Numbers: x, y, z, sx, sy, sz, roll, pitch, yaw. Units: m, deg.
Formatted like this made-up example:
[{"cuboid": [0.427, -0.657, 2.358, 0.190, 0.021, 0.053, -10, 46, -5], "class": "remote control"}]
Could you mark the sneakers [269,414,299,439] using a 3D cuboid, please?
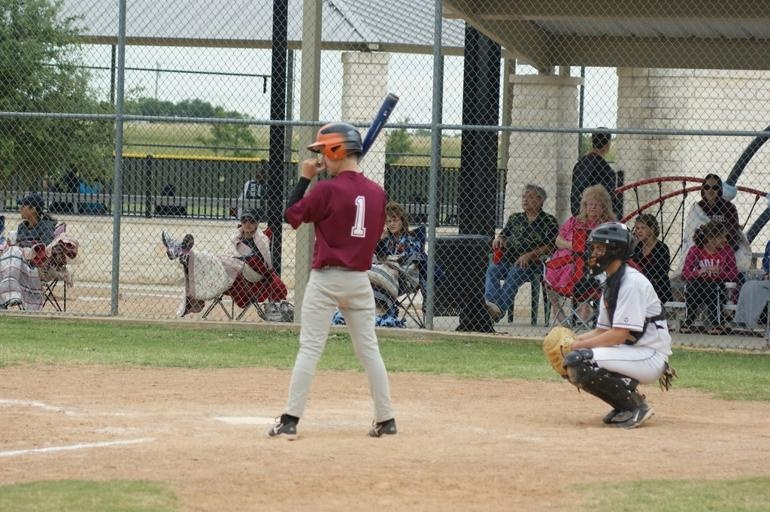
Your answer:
[{"cuboid": [-1.109, 1.894, 13.750, 0.392, 0.303, 0.180, 5, -3, 31], "class": "sneakers"}]

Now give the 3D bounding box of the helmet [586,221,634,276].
[{"cuboid": [2.614, -0.104, 14.579, 0.520, 0.577, 0.463, 3, 2, 9], "class": "helmet"}]

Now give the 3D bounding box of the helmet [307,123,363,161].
[{"cuboid": [-0.557, -1.266, 14.003, 0.516, 0.365, 0.368, 4, 1, -1], "class": "helmet"}]

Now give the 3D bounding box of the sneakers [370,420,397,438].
[{"cuboid": [-0.025, 1.934, 13.873, 0.272, 0.139, 0.158, -1, 2, 5], "class": "sneakers"}]

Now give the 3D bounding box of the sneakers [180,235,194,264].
[{"cuboid": [-2.950, -0.118, 18.474, 0.141, 0.472, 0.177, 9, 2, 10], "class": "sneakers"}]

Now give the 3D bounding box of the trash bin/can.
[{"cuboid": [1.158, 0.297, 19.315, 0.976, 1.634, 1.051, 2, -1, 2], "class": "trash bin/can"}]

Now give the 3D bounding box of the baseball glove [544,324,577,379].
[{"cuboid": [2.019, 1.114, 14.555, 0.214, 0.578, 0.400, -3, -10, -2], "class": "baseball glove"}]

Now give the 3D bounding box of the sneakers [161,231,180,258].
[{"cuboid": [-3.480, -0.198, 20.226, 0.197, 0.522, 0.167, -14, -3, 3], "class": "sneakers"}]

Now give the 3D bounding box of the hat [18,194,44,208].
[{"cuboid": [-5.539, -0.855, 19.511, 0.301, 0.257, 0.437, -2, 15, -11], "class": "hat"}]

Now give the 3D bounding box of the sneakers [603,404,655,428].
[{"cuboid": [2.773, 1.867, 14.358, 0.425, 0.214, 0.282, -14, 3, -5], "class": "sneakers"}]

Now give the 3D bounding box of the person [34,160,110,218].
[{"cuboid": [-6.215, -1.353, 24.920, 1.405, 0.903, 1.134, 0, 15, -1], "class": "person"}]

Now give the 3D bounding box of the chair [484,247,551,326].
[{"cuboid": [1.997, 0.485, 18.823, 0.963, 1.424, 0.952, 5, -1, -4], "class": "chair"}]

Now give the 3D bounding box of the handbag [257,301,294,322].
[{"cuboid": [-1.645, 0.864, 18.928, 0.521, 0.331, 0.382, 1, -5, 8], "class": "handbag"}]

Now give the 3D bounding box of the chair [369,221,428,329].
[{"cuboid": [0.113, 0.335, 19.075, 1.188, 1.813, 1.294, 1, -2, -15], "class": "chair"}]

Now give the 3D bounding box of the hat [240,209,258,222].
[{"cuboid": [-2.088, -0.615, 19.031, 0.238, 0.198, 0.527, -2, 15, -11], "class": "hat"}]
